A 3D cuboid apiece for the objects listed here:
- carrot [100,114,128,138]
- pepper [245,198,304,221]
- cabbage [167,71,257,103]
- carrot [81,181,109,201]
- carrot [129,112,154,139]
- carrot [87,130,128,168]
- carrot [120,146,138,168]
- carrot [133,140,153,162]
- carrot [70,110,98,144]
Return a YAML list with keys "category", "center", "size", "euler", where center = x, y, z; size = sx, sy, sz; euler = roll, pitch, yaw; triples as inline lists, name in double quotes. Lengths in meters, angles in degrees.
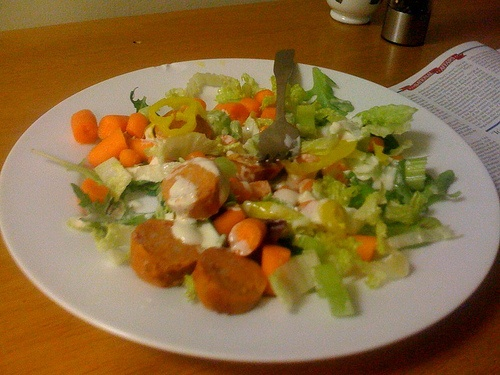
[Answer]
- category: "carrot"
  center: [-0.660, -0.307, 2.142]
  size: [0.088, 0.071, 0.148]
  euler: [7, 33, 37]
- category: "pepper"
  center: [0.081, 0.086, 1.750]
  size: [0.265, 0.075, 0.072]
  euler: [10, 103, 7]
- category: "cabbage"
  center: [-0.195, -0.562, 2.394]
  size: [0.416, 0.075, 0.194]
  euler: [2, 50, 3]
- category: "carrot"
  center: [-0.658, 0.026, 1.879]
  size: [0.024, 0.105, 0.102]
  euler: [-53, 39, 21]
- category: "carrot"
  center: [-0.539, -0.316, 2.147]
  size: [0.128, 0.127, 0.113]
  euler: [20, 77, -24]
- category: "carrot"
  center: [-0.654, -0.182, 2.056]
  size: [0.211, 0.106, 0.109]
  euler: [-33, 73, -8]
- category: "carrot"
  center: [-0.554, -0.137, 1.993]
  size: [0.088, 0.045, 0.081]
  euler: [-5, 55, -26]
- category: "carrot"
  center: [-0.501, -0.180, 2.042]
  size: [0.092, 0.029, 0.108]
  euler: [-23, 95, 25]
- category: "carrot"
  center: [-0.785, -0.287, 2.056]
  size: [0.133, 0.089, 0.159]
  euler: [-7, 61, -23]
